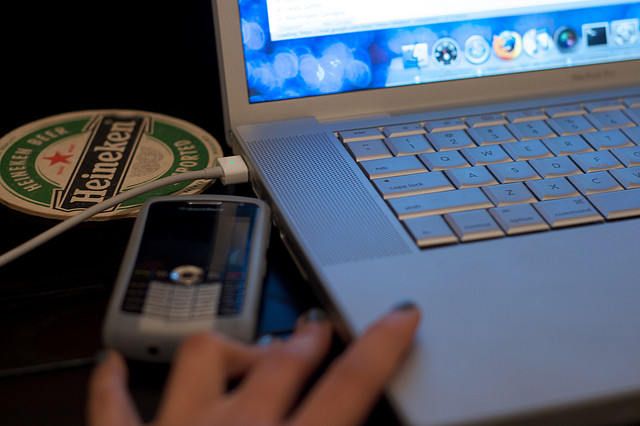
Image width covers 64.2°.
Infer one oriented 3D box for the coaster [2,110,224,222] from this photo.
[{"bbox_3d":[-0.263,-0.077,0.633,0.250,0.026,0.206,-20,43,-23],"label":"coaster"}]
